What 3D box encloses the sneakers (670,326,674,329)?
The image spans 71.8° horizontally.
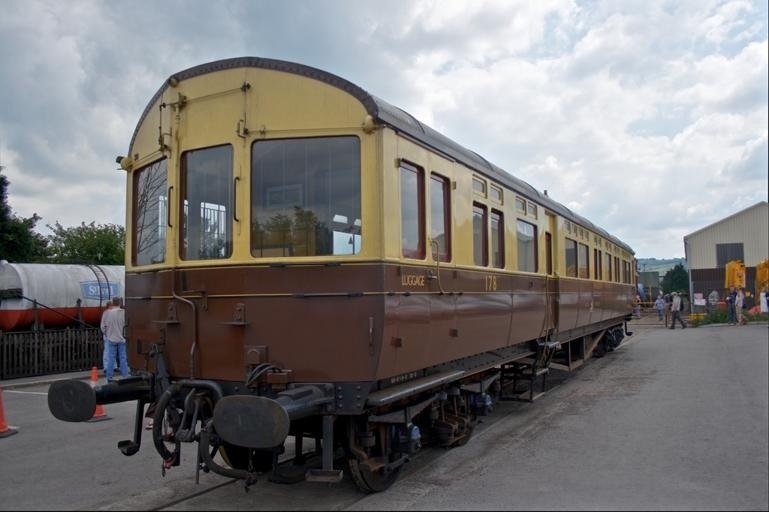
[{"bbox_3d":[15.222,3.735,28.127,0.146,0.106,0.083,-16,-27,17],"label":"sneakers"}]
